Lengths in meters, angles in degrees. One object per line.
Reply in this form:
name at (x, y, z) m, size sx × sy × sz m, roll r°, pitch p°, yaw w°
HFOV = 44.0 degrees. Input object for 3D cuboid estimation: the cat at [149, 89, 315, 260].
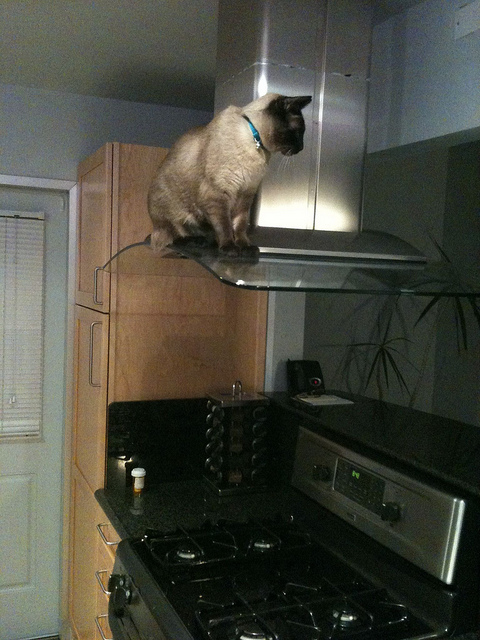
cat at (-0.079, -0.306, 1.236) m, size 0.544 × 0.330 × 0.148 m, roll 13°, pitch 18°, yaw 40°

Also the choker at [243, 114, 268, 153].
choker at (0.033, -0.336, 1.087) m, size 0.032 × 0.074 × 0.020 m, roll -27°, pitch 3°, yaw 29°

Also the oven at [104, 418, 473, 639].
oven at (0.043, 0.510, 1.280) m, size 0.565 × 0.418 × 0.660 m, roll -3°, pitch 0°, yaw -23°

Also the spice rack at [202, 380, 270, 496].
spice rack at (-0.051, 0.411, 1.881) m, size 0.164 × 0.250 × 0.170 m, roll 48°, pitch 5°, yaw 31°
